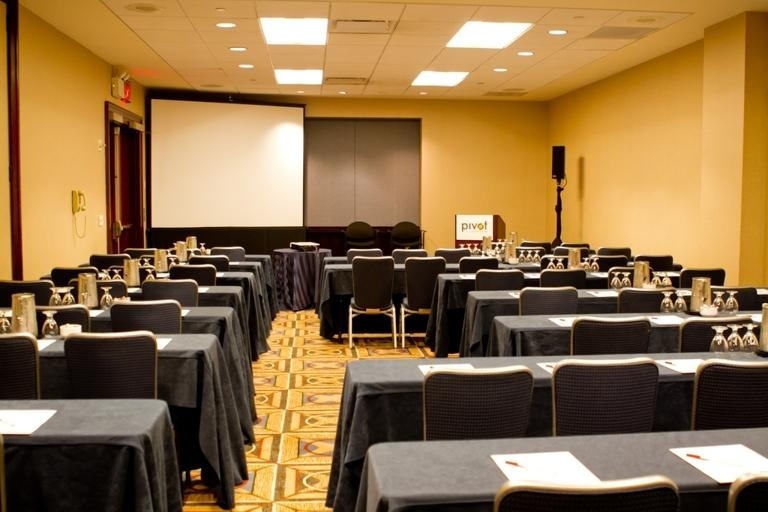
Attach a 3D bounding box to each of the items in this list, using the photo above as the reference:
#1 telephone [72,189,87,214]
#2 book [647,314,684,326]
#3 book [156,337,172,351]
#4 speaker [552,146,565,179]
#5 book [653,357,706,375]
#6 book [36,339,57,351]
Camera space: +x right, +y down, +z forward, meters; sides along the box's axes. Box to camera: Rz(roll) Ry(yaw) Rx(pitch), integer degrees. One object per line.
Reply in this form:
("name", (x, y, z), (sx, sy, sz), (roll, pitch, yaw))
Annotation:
("telephone", (-4.798, -0.841, 9.397), (0.116, 0.365, 0.491), (-2, 2, -13))
("book", (2.206, 0.504, 4.673), (0.233, 0.044, 0.467), (-1, 2, 24))
("book", (-1.466, 0.582, 3.978), (0.093, 0.025, 0.104), (-2, 9, -11))
("speaker", (3.845, -2.067, 13.209), (0.240, 0.740, 0.306), (-1, 2, 10))
("book", (1.834, 0.676, 3.661), (0.298, 0.041, 0.279), (-1, 1, 7))
("book", (-2.155, 0.574, 3.807), (0.070, 0.024, 0.100), (7, 9, 17))
